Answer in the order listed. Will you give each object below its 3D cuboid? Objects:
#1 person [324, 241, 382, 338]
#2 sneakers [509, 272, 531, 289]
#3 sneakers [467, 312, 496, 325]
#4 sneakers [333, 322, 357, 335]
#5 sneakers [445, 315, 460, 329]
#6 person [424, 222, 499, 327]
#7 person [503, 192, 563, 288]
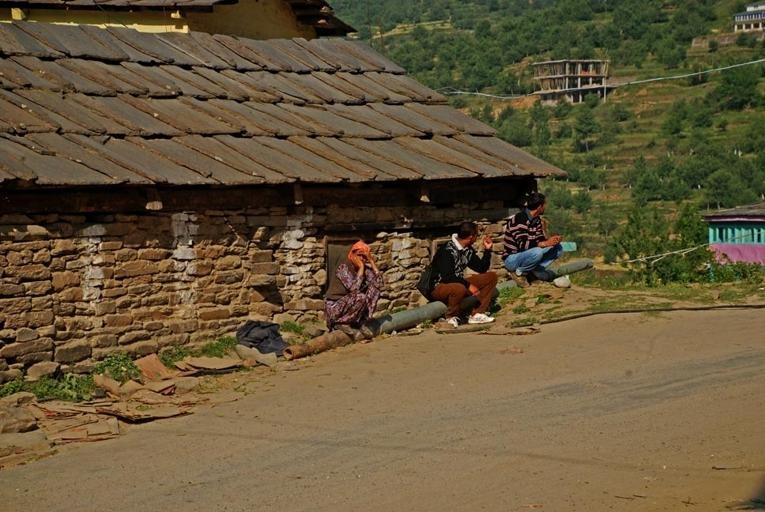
[{"bbox_3d":[-0.543,0.584,15.427,1.031,1.629,0.583,-4,0,-3],"label":"person"},{"bbox_3d":[2.926,0.497,18.385,0.534,0.212,0.197,26,28,11],"label":"sneakers"},{"bbox_3d":[1.891,1.187,16.525,0.530,0.171,0.195,-2,8,6],"label":"sneakers"},{"bbox_3d":[-0.660,1.288,15.520,0.388,0.112,0.188,17,8,3],"label":"sneakers"},{"bbox_3d":[1.304,1.242,16.380,0.290,0.110,0.357,1,3,5],"label":"sneakers"},{"bbox_3d":[1.468,0.348,16.661,1.271,1.950,1.155,-4,0,23],"label":"person"},{"bbox_3d":[3.066,-0.390,17.996,1.247,1.873,1.289,-4,0,9],"label":"person"}]
